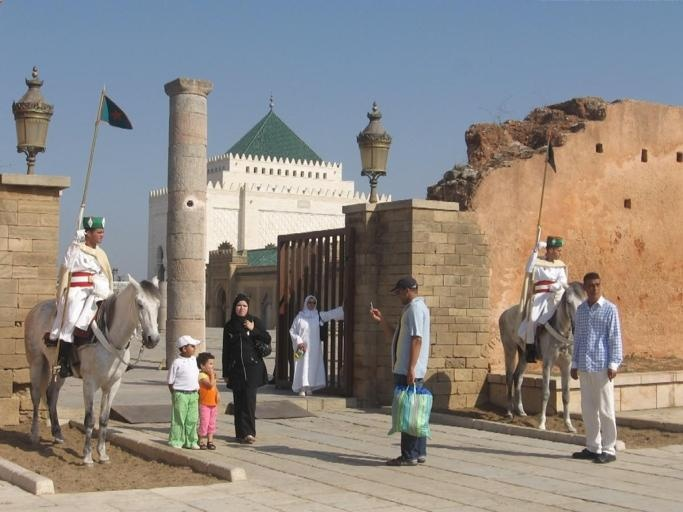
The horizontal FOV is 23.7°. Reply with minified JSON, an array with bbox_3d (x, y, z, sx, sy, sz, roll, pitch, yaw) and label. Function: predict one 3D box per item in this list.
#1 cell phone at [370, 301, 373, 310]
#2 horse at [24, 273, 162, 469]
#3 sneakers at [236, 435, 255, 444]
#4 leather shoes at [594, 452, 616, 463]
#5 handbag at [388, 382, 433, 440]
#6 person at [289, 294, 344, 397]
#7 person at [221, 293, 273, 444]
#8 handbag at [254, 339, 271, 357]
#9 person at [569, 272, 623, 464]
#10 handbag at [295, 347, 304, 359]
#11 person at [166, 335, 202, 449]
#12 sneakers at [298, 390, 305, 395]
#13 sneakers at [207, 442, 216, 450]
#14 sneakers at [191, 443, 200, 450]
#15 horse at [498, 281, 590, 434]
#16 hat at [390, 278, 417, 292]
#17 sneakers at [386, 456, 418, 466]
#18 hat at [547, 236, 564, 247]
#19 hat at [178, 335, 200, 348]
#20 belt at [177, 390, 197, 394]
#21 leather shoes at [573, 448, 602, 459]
[{"bbox_3d":[0.421,0.848,25.980,0.078,0.052,0.185,-5,-29,4],"label":"cell phone"},{"bbox_3d":[-3.833,1.795,24.964,1.084,2.857,2.967,1,-1,-34],"label":"horse"},{"bbox_3d":[-1.535,2.986,25.659,0.326,0.124,0.110,-5,-4,38],"label":"sneakers"},{"bbox_3d":[3.874,3.137,24.567,0.315,0.163,0.183,0,-1,4],"label":"leather shoes"},{"bbox_3d":[1.024,2.410,24.461,0.705,0.754,0.493,2,3,28],"label":"handbag"},{"bbox_3d":[-0.548,1.712,29.969,0.854,1.861,0.783,0,-1,-26],"label":"person"},{"bbox_3d":[-1.527,1.849,25.813,0.718,2.378,0.568,0,-1,-4],"label":"person"},{"bbox_3d":[-1.286,1.552,25.922,0.287,0.278,0.215,-2,-4,30],"label":"handbag"},{"bbox_3d":[3.783,1.755,24.812,0.848,2.905,0.488,-1,-1,42],"label":"person"},{"bbox_3d":[-0.841,1.868,29.738,0.117,0.216,0.222,1,-1,-42],"label":"handbag"},{"bbox_3d":[-2.438,2.190,25.185,0.458,1.748,0.313,0,-1,-16],"label":"person"},{"bbox_3d":[-0.748,2.590,29.632,0.074,0.079,0.113,1,4,-3],"label":"sneakers"},{"bbox_3d":[-2.025,3.032,25.228,0.128,0.107,0.175,0,-1,-7],"label":"sneakers"},{"bbox_3d":[-2.246,3.026,25.151,0.105,0.099,0.179,0,-1,25],"label":"sneakers"},{"bbox_3d":[3.327,1.761,27.460,0.789,2.414,3.137,4,0,-17],"label":"horse"},{"bbox_3d":[0.913,0.488,24.682,0.332,0.162,0.216,1,-3,6],"label":"hat"},{"bbox_3d":[0.852,3.178,24.433,0.456,0.158,0.155,3,-9,0],"label":"sneakers"},{"bbox_3d":[3.540,-0.190,27.760,0.215,0.129,0.202,2,7,14],"label":"hat"},{"bbox_3d":[-2.338,1.429,25.307,0.385,0.136,0.232,-5,7,-19],"label":"hat"},{"bbox_3d":[-2.415,2.183,25.219,0.309,0.057,0.073,0,-1,-20],"label":"belt"},{"bbox_3d":[3.640,3.104,24.763,0.437,0.154,0.137,3,-4,9],"label":"leather shoes"}]
